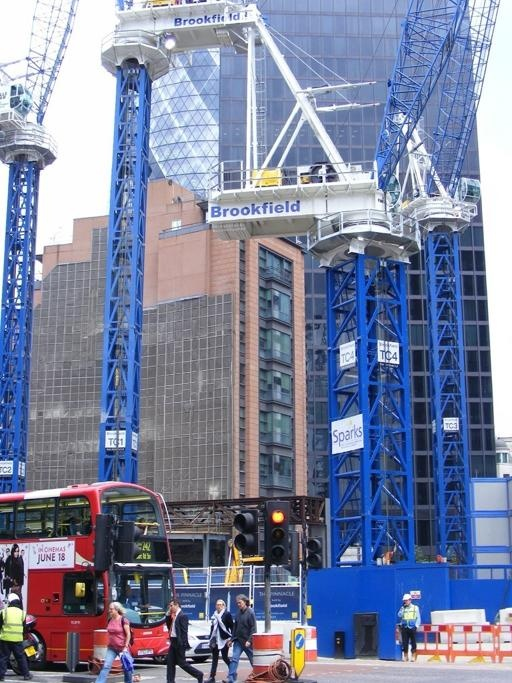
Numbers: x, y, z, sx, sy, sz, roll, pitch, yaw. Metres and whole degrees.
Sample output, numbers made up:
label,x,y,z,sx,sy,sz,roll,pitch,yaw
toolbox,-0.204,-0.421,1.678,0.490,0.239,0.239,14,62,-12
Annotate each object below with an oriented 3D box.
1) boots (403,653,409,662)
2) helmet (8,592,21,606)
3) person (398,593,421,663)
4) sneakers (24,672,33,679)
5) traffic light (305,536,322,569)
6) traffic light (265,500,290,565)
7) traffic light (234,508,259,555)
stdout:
label,x,y,z,sx,sy,sz,roll,pitch,yaw
boots,4.088,8.590,32.486,0.078,0.275,0.180,8,-4,-3
helmet,-5.150,5.468,25.375,0.189,0.250,0.243,3,-2,-2
person,4.189,7.840,32.637,0.540,1.816,1.080,-3,-10,6
sneakers,-4.939,7.257,25.897,0.136,0.193,0.195,3,-27,-4
traffic light,1.289,4.741,26.657,0.328,0.688,0.571,-2,-10,-1
traffic light,0.407,3.774,23.595,0.506,1.240,0.522,-1,-10,-1
traffic light,-0.198,3.718,23.327,0.474,0.910,0.848,-2,-10,0
